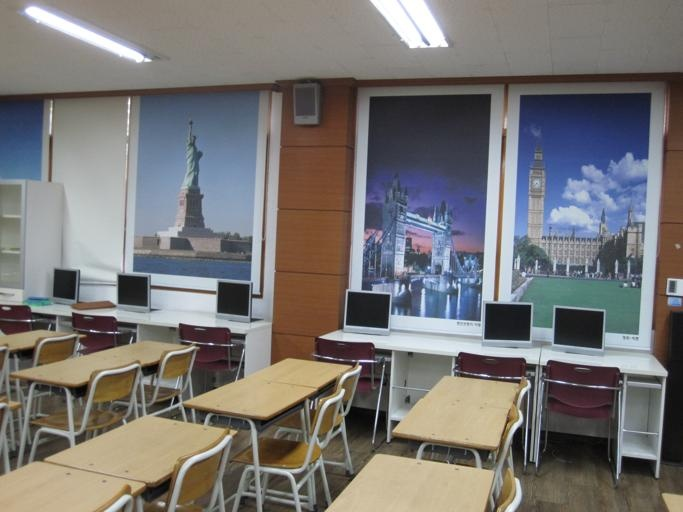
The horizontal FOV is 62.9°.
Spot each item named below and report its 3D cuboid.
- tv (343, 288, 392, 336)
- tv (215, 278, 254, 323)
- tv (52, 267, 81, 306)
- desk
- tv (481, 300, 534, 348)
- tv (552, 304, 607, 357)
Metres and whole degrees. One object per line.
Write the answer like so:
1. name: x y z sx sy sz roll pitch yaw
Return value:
1. tv: 0.287 0.647 6.291 0.498 0.441 0.054 2 -2 13
2. tv: -1.293 0.550 6.680 0.483 0.451 0.051 2 1 27
3. tv: -3.722 0.417 7.527 0.475 0.476 0.050 3 5 29
4. desk: 2.374 1.325 5.707 1.607 1.479 1.032 1 -4 15
5. tv: 1.738 0.732 5.897 0.475 0.420 0.052 2 -5 9
6. tv: 2.424 0.780 5.722 0.468 0.465 0.049 2 -7 22
